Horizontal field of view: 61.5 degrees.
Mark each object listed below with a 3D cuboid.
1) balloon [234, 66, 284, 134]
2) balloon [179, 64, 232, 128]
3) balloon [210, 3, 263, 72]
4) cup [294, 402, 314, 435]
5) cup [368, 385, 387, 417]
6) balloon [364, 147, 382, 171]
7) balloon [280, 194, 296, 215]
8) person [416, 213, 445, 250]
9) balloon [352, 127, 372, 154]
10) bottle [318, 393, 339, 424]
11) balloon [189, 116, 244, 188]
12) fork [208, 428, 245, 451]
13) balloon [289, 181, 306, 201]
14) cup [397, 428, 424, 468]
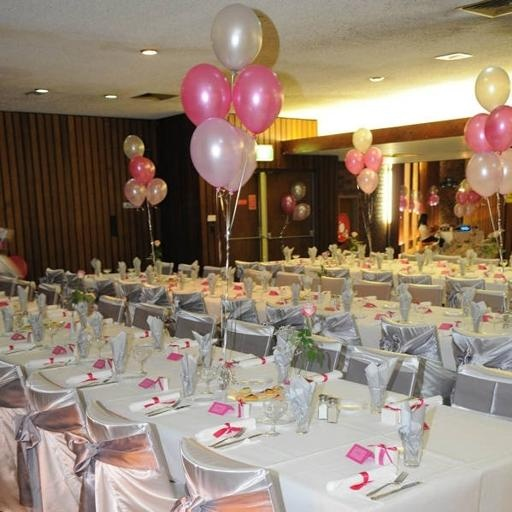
[{"bbox_3d":[0.068,-1.347,3.730,0.465,0.611,0.478,-3,25,-3],"label":"balloon"},{"bbox_3d":[-0.386,-1.310,3.729,0.497,0.619,0.511,0,2,7],"label":"balloon"},{"bbox_3d":[-0.083,-1.770,3.584,0.438,0.573,0.451,-1,21,-3],"label":"balloon"},{"bbox_3d":[0.204,0.678,1.858,0.069,0.149,0.173,-1,2,5],"label":"cup"},{"bbox_3d":[0.581,0.664,2.060,0.073,0.145,0.239,0,2,17],"label":"cup"},{"bbox_3d":[2.313,-1.900,8.527,0.332,0.459,0.438,0,2,13],"label":"balloon"},{"bbox_3d":[0.912,-1.373,11.582,0.416,0.562,0.279,-2,2,-27],"label":"balloon"},{"bbox_3d":[6.590,-0.827,16.348,0.873,1.575,0.641,-8,12,-2],"label":"person"},{"bbox_3d":[2.012,-2.250,8.455,0.397,0.528,0.431,0,6,6],"label":"balloon"},{"bbox_3d":[0.336,0.708,1.988,0.086,0.087,0.088,1,-2,19],"label":"bottle"},{"bbox_3d":[-0.279,-0.845,3.437,0.436,0.571,0.453,3,33,3],"label":"balloon"},{"bbox_3d":[-0.108,0.761,1.796,0.041,0.036,0.249,7,5,31],"label":"fork"},{"bbox_3d":[1.158,-1.733,11.687,0.430,0.535,0.439,1,0,-1],"label":"balloon"},{"bbox_3d":[0.548,0.642,1.519,0.074,0.156,0.165,0,2,21],"label":"cup"}]
